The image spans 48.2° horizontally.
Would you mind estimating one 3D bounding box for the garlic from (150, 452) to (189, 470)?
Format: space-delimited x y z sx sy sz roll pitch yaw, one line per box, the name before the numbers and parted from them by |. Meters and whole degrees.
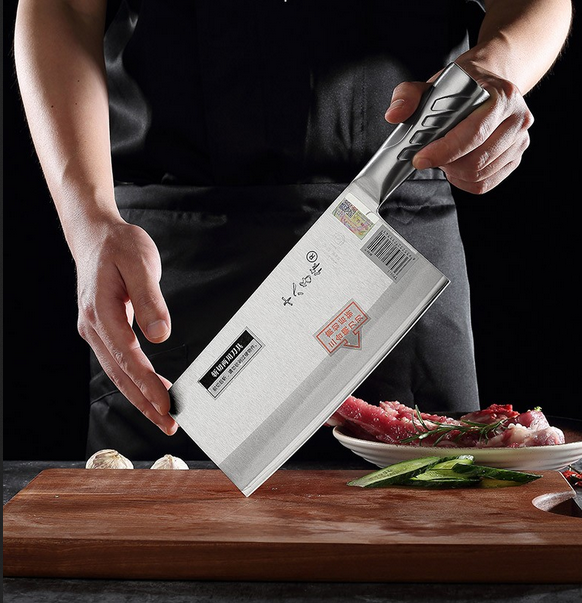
garlic | -0.198 0.251 1.058 0.046 0.015 0.044 1 4 31
